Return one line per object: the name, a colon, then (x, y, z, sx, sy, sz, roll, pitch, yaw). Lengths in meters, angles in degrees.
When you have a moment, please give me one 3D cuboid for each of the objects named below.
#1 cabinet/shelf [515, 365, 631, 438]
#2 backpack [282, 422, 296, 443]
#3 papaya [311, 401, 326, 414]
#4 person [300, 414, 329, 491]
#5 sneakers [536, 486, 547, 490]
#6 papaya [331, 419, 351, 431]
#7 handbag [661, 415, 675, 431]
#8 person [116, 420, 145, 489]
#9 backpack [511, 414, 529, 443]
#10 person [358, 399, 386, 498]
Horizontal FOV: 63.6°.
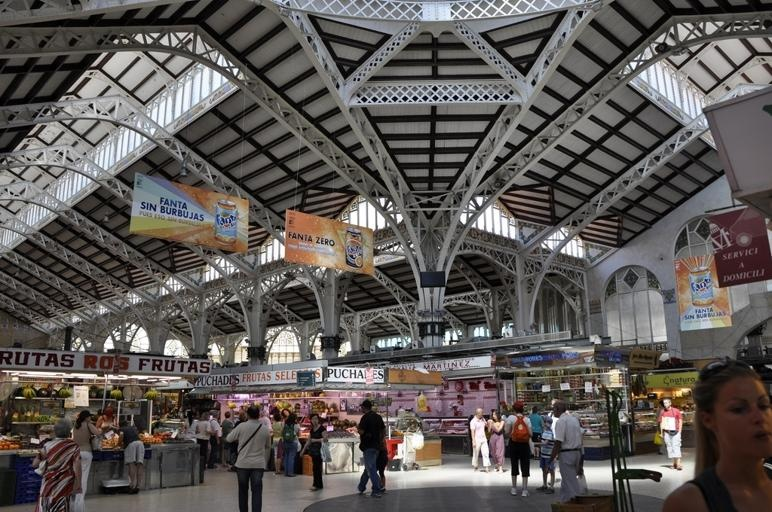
cabinet/shelf: (6.419, 4.993, 22.400, 3.850, 2.692, 2.145, -4, -7, 25)
backpack: (-2.877, 5.283, 18.691, 0.362, 0.509, 0.523, 1, -14, 0)
papaya: (-2.495, 5.663, 23.396, 0.478, 0.555, 0.583, 3, -19, -16)
person: (-1.940, 5.412, 17.249, 0.589, 1.949, 1.438, 0, -18, -7)
sneakers: (3.917, 5.850, 15.826, 0.254, 0.106, 0.092, 0, -13, 5)
papaya: (-1.526, 5.733, 21.301, 0.444, 0.332, 1.010, -15, -23, 34)
handbag: (8.740, 5.179, 19.424, 0.219, 0.395, 0.402, 14, -35, -5)
person: (-6.615, 5.227, 16.287, 0.676, 1.755, 0.641, 10, -22, -33)
backpack: (3.275, 4.398, 15.721, 0.399, 0.635, 0.633, 3, -32, 1)
person: (-0.360, 4.750, 15.451, 0.645, 2.269, 1.408, -1, -18, -3)
